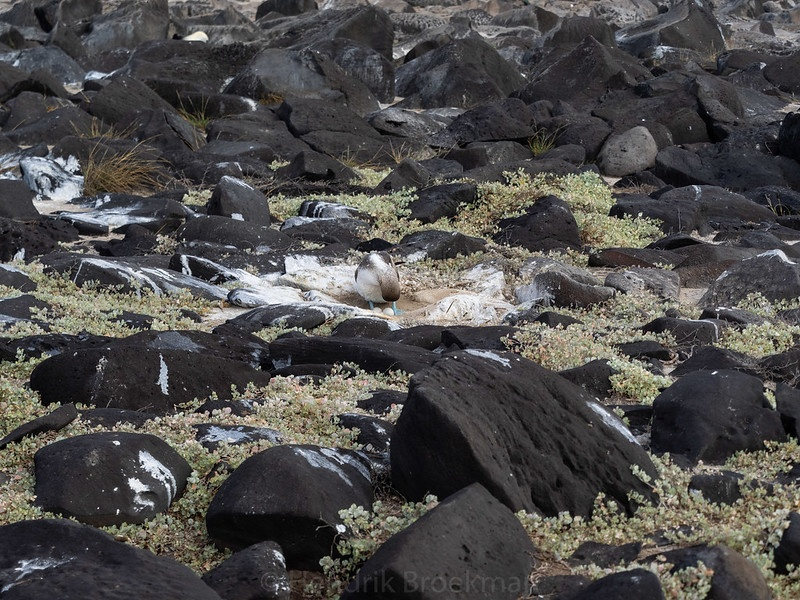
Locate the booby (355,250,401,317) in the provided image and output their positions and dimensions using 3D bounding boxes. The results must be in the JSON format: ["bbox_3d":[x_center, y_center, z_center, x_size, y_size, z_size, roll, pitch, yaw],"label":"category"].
[{"bbox_3d":[-0.312,-0.290,23.882,0.585,0.994,0.699,-8,-20,-4],"label":"booby"}]
